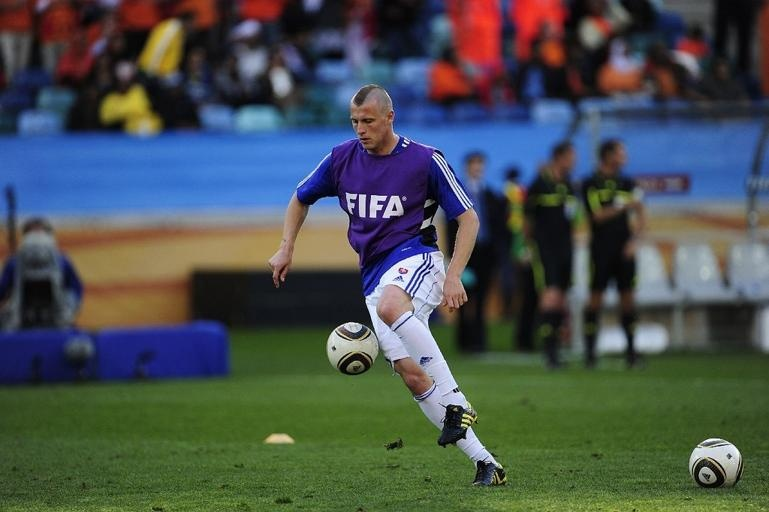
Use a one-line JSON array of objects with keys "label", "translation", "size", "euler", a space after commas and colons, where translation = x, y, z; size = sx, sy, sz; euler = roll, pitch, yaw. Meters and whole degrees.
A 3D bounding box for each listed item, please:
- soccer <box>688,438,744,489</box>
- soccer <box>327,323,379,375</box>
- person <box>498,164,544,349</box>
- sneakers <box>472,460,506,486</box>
[{"label": "soccer", "translation": [3.211, 1.938, 15.695], "size": [0.467, 0.444, 0.458], "euler": [-16, -5, 11]}, {"label": "soccer", "translation": [-0.290, 0.893, 15.998], "size": [0.502, 0.475, 0.490], "euler": [-2, -5, 0]}, {"label": "person", "translation": [1.944, -0.014, 22.163], "size": [0.405, 2.765, 0.433], "euler": [1, -1, -1]}, {"label": "sneakers", "translation": [1.023, 2.053, 15.670], "size": [0.312, 0.227, 0.122], "euler": [0, 10, 2]}]
